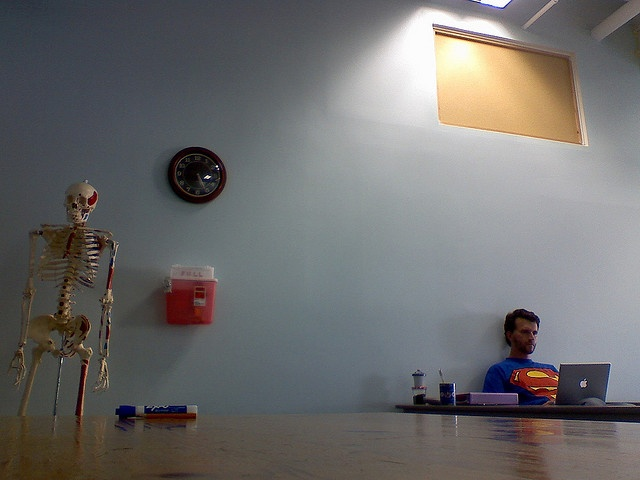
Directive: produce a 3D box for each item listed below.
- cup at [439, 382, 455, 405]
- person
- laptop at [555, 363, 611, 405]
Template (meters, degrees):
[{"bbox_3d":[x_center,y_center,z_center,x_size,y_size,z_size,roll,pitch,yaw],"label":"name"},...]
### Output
[{"bbox_3d":[0.750,0.905,3.106,0.081,0.120,0.123,0,-10,7],"label":"cup"},{"bbox_3d":[1.452,0.797,3.519,0.662,0.783,0.672,1,-20,4],"label":"person"},{"bbox_3d":[1.392,0.745,2.817,0.294,0.205,0.216,2,-6,-2],"label":"laptop"}]
